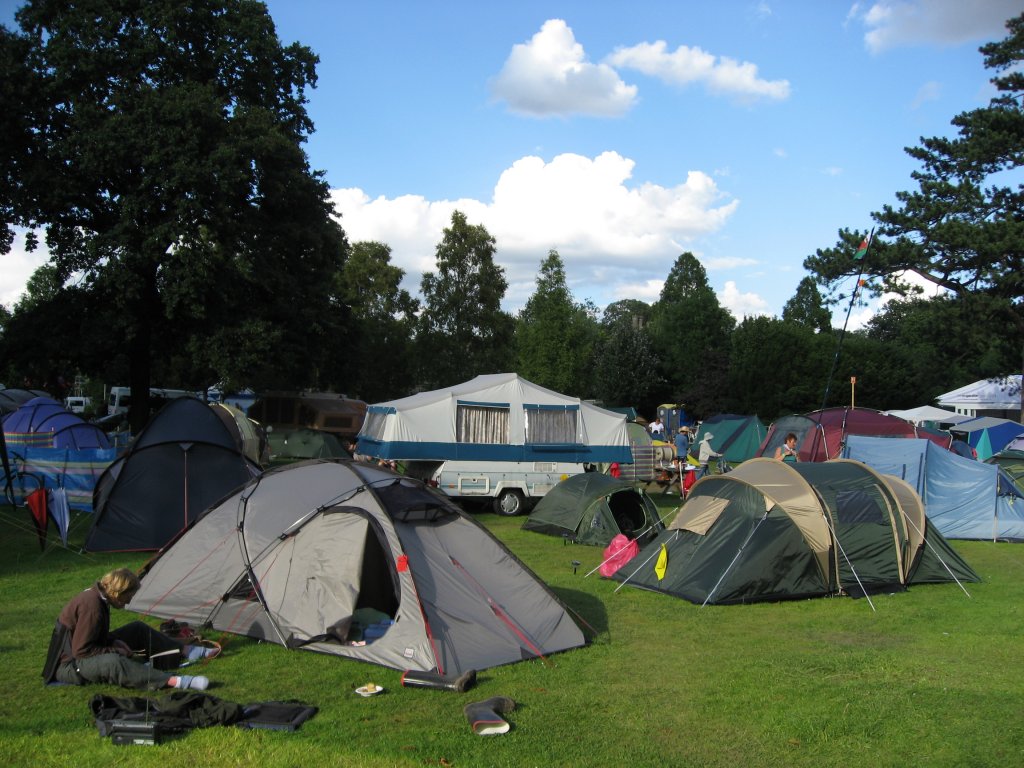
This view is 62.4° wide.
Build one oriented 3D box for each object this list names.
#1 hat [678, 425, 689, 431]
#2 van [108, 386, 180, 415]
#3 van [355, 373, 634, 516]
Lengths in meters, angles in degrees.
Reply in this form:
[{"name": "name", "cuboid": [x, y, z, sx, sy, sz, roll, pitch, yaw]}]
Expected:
[{"name": "hat", "cuboid": [7.022, 1.805, 34.657, 0.446, 0.197, 0.504, 0, -1, -32]}, {"name": "van", "cuboid": [-14.852, 0.665, 33.850, 2.111, 1.323, 1.439, 0, -1, -3]}, {"name": "van", "cuboid": [-0.578, 1.419, 23.044, 5.523, 3.257, 3.541, 1, -1, -15]}]
